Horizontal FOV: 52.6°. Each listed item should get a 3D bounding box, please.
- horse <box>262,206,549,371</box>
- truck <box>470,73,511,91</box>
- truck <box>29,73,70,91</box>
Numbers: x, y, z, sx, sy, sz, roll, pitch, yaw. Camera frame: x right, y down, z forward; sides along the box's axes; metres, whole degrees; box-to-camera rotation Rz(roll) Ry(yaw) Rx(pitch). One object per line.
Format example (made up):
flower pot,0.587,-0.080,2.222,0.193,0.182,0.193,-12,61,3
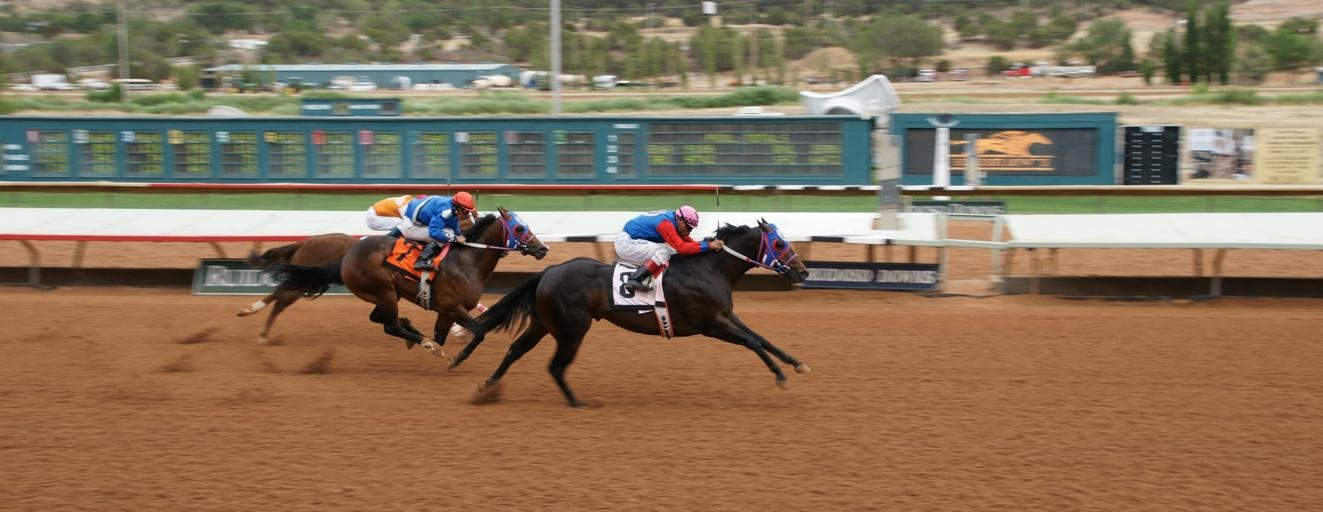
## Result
horse,-11.065,1.007,59.603,15.817,4.320,3.278,-1,4,29
truck,-12.142,-12.442,96.027,2.796,0.782,1.876,-2,7,-5
truck,-44.211,-12.418,95.328,3.809,0.840,1.870,0,5,-12
